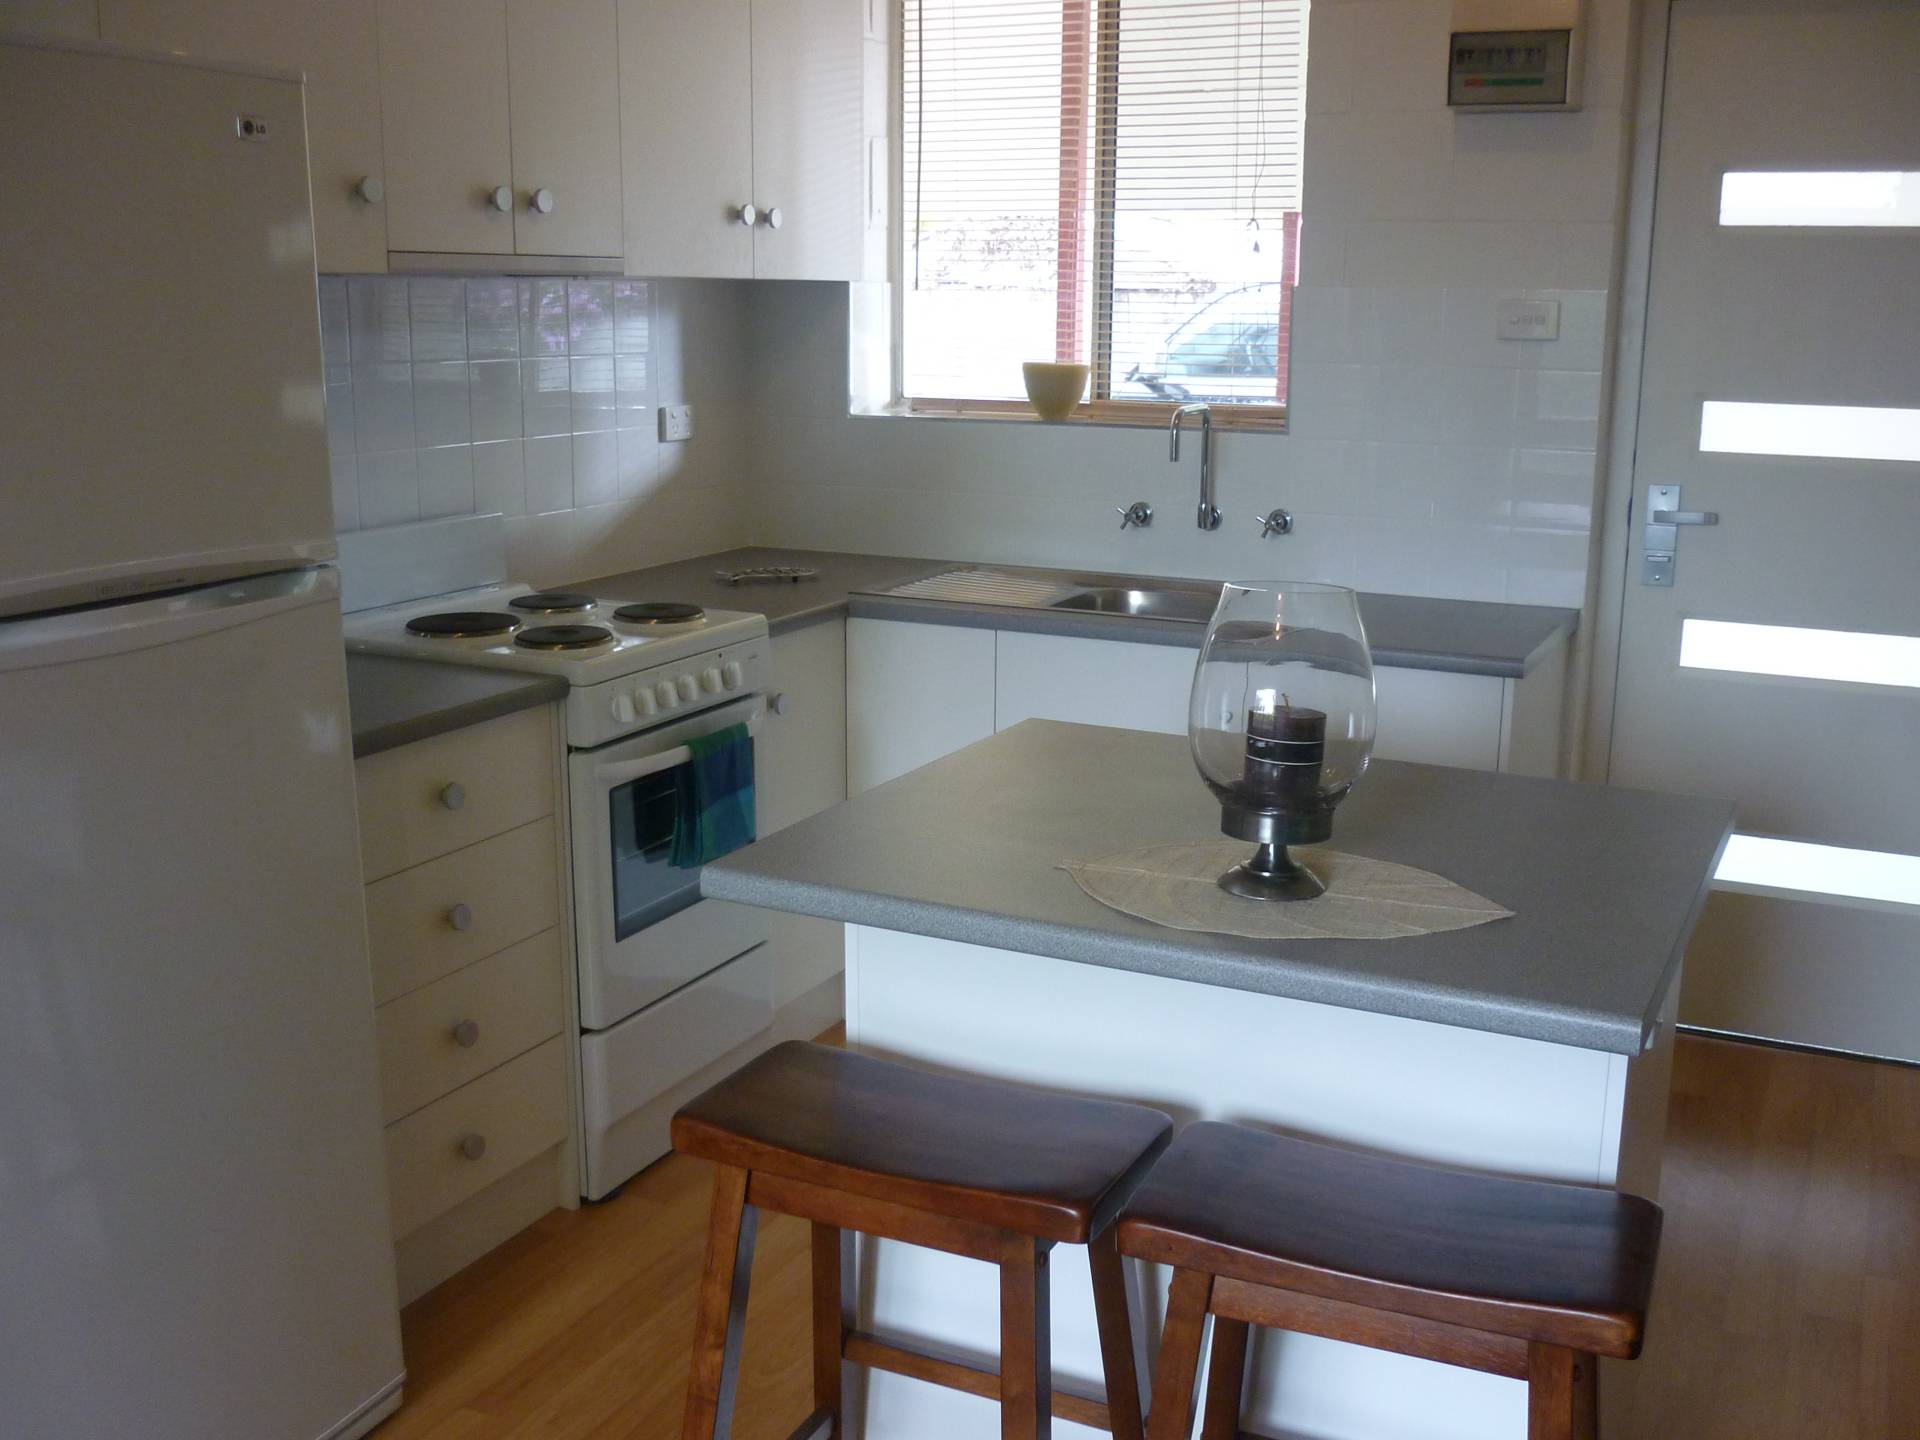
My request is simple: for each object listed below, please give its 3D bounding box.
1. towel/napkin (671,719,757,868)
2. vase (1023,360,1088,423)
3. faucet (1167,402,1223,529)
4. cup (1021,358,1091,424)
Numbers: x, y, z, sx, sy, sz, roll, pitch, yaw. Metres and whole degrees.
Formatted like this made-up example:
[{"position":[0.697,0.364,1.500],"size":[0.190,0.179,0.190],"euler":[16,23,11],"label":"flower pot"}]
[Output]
[{"position":[-0.531,0.148,3.065],"size":[0.060,0.251,0.259],"euler":[9,16,22],"label":"towel/napkin"},{"position":[0.278,-0.939,4.208],"size":[0.159,0.135,0.169],"euler":[12,17,43],"label":"vase"},{"position":[0.631,-0.676,3.952],"size":[0.150,0.334,0.270],"euler":[-3,14,-12],"label":"faucet"},{"position":[0.273,-0.933,4.158],"size":[0.170,0.144,0.166],"euler":[0,13,0],"label":"cup"}]
